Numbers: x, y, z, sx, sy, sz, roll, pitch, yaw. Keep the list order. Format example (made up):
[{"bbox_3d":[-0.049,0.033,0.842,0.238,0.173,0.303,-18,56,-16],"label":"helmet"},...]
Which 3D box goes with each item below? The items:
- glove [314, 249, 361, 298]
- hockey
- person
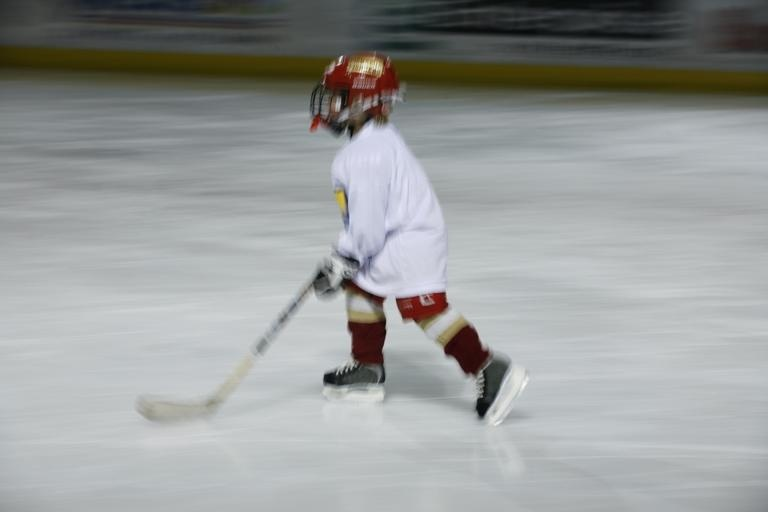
[{"bbox_3d":[-0.217,0.078,5.528,0.165,0.216,0.120,42,15,21],"label":"glove"},{"bbox_3d":[-0.587,0.413,5.384,0.268,1.155,0.226,41,27,-17],"label":"hockey"},{"bbox_3d":[0.058,-0.068,5.478,0.699,1.533,0.901,-12,23,-25],"label":"person"}]
